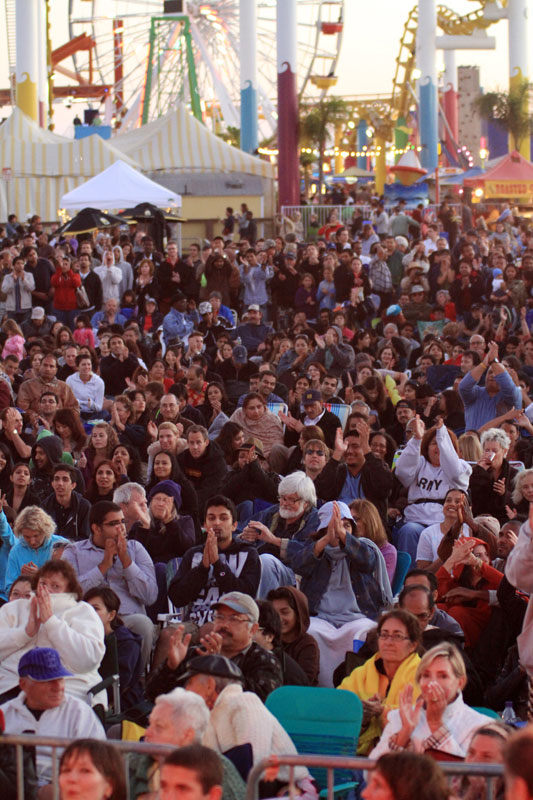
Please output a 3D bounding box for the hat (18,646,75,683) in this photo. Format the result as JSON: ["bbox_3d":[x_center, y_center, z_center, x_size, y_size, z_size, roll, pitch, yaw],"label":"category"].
[{"bbox_3d":[-0.999,1.198,4.175,0.201,0.105,0.145,-6,-2,18],"label":"hat"}]

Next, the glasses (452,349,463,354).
[{"bbox_3d":[2.734,-0.692,13.241,0.104,0.069,0.116,0,29,18],"label":"glasses"}]

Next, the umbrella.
[{"bbox_3d":[-3.520,-4.958,21.795,2.100,0.804,1.953,0,1,4],"label":"umbrella"}]

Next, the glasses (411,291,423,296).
[{"bbox_3d":[2.790,-1.990,16.983,0.125,0.033,0.116,-11,-22,-11],"label":"glasses"}]

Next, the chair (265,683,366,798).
[{"bbox_3d":[0.219,1.619,4.301,0.461,0.486,0.339,2,6,0],"label":"chair"}]

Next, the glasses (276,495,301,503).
[{"bbox_3d":[0.159,0.737,7.019,0.186,0.079,0.080,6,7,35],"label":"glasses"}]

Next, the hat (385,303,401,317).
[{"bbox_3d":[2.223,-1.535,16.034,0.242,0.096,0.299,-7,38,29],"label":"hat"}]

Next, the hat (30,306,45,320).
[{"bbox_3d":[-3.999,-1.509,16.058,0.242,0.175,0.346,2,17,2],"label":"hat"}]

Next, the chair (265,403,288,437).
[{"bbox_3d":[0.173,0.176,10.915,0.344,0.459,0.321,-1,-3,6],"label":"chair"}]

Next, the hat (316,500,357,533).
[{"bbox_3d":[0.500,0.849,6.815,0.216,0.133,0.271,-2,-17,-6],"label":"hat"}]

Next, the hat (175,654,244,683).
[{"bbox_3d":[-0.231,1.167,4.024,0.213,0.074,0.133,7,-10,0],"label":"hat"}]

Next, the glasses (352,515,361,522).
[{"bbox_3d":[0.653,0.841,6.579,0.041,0.018,0.048,-6,40,1],"label":"glasses"}]

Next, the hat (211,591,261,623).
[{"bbox_3d":[-0.152,1.037,4.659,0.147,0.095,0.204,4,-26,39],"label":"hat"}]

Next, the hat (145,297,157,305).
[{"bbox_3d":[-2.097,-1.796,16.660,0.174,0.119,0.204,2,-36,1],"label":"hat"}]

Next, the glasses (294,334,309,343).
[{"bbox_3d":[0.502,-0.892,13.191,0.158,0.128,0.148,2,-2,-2],"label":"glasses"}]
